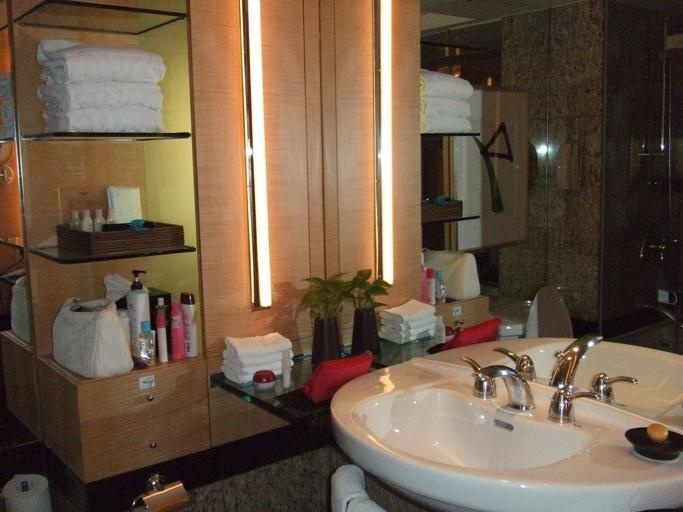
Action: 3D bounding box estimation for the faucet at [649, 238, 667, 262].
[{"bbox_3d":[1.058,-0.021,1.902,0.036,0.068,0.095,-3,7,13],"label":"faucet"}]

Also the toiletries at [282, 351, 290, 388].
[{"bbox_3d":[-0.194,0.400,2.021,0.036,0.108,0.090,-6,7,-6],"label":"toiletries"}]

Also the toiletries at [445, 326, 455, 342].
[{"bbox_3d":[0.434,0.315,2.290,0.030,0.019,0.053,8,15,36],"label":"toiletries"}]

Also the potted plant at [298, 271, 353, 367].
[{"bbox_3d":[-0.058,0.240,2.258,0.207,0.333,0.301,-5,7,-1],"label":"potted plant"}]

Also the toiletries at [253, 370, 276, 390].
[{"bbox_3d":[-0.271,0.436,2.011,0.066,0.054,0.069,-10,9,-37],"label":"toiletries"}]

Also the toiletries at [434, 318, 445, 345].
[{"bbox_3d":[0.397,0.298,2.309,0.022,0.073,0.059,-2,1,37],"label":"toiletries"}]

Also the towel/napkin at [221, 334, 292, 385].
[{"bbox_3d":[-0.306,0.335,2.097,0.210,0.141,0.170,-6,8,-38],"label":"towel/napkin"}]

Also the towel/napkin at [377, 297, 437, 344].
[{"bbox_3d":[0.279,0.261,2.306,0.165,0.102,0.186,9,15,43],"label":"towel/napkin"}]

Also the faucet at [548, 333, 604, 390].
[{"bbox_3d":[0.628,0.284,1.544,0.131,0.158,0.236,-2,8,19],"label":"faucet"}]
